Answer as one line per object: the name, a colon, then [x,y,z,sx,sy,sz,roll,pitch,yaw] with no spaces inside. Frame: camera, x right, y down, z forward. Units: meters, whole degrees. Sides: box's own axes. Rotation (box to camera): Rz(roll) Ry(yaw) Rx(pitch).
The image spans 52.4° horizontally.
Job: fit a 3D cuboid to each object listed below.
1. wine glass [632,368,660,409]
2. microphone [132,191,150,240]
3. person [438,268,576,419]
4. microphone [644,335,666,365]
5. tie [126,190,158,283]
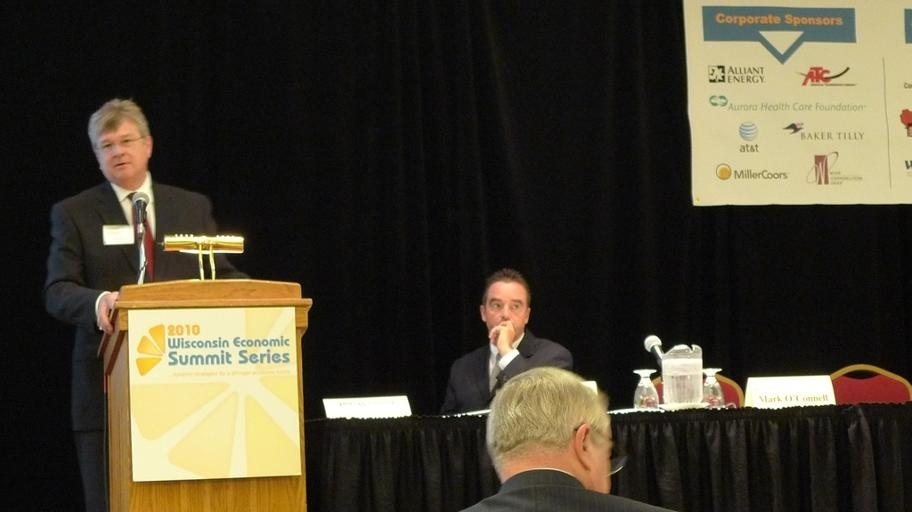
wine glass: [1.197,0.833,5.678,0.177,0.265,0.180,-10,-5,6]
microphone: [-1.806,-0.223,5.320,0.101,0.098,0.319,-20,40,-7]
person: [0.287,0.597,6.227,0.757,1.208,0.652,-7,-34,15]
microphone: [1.341,0.643,6.265,0.105,0.098,0.291,15,4,0]
tie: [-1.781,-0.050,5.235,0.132,0.653,0.129,-5,3,-12]
